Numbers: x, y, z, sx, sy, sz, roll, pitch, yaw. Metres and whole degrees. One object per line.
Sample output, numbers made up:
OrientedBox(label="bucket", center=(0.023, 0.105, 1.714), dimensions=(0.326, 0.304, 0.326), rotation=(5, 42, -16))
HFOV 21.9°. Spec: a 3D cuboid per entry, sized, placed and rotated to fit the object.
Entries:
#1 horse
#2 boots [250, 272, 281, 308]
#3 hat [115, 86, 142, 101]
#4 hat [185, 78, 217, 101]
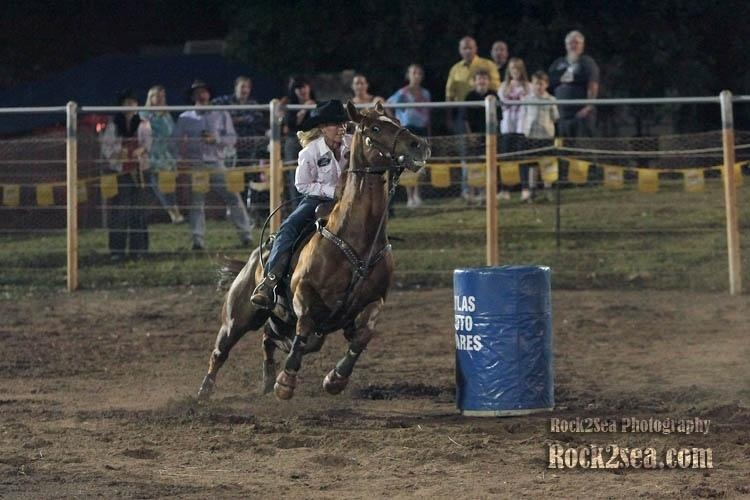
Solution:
OrientedBox(label="horse", center=(-1.043, 0.470, 32.751), dimensions=(1.625, 4.577, 6.135), rotation=(6, -15, -29))
OrientedBox(label="boots", center=(-1.785, 0.723, 31.643), dimensions=(0.352, 0.612, 0.256), rotation=(28, -8, -2))
OrientedBox(label="hat", center=(-4.696, -2.984, 37.030), dimensions=(0.278, 0.343, 0.348), rotation=(-5, 12, -24))
OrientedBox(label="hat", center=(-3.393, -3.088, 37.709), dimensions=(0.428, 0.198, 0.495), rotation=(-3, -11, -5))
